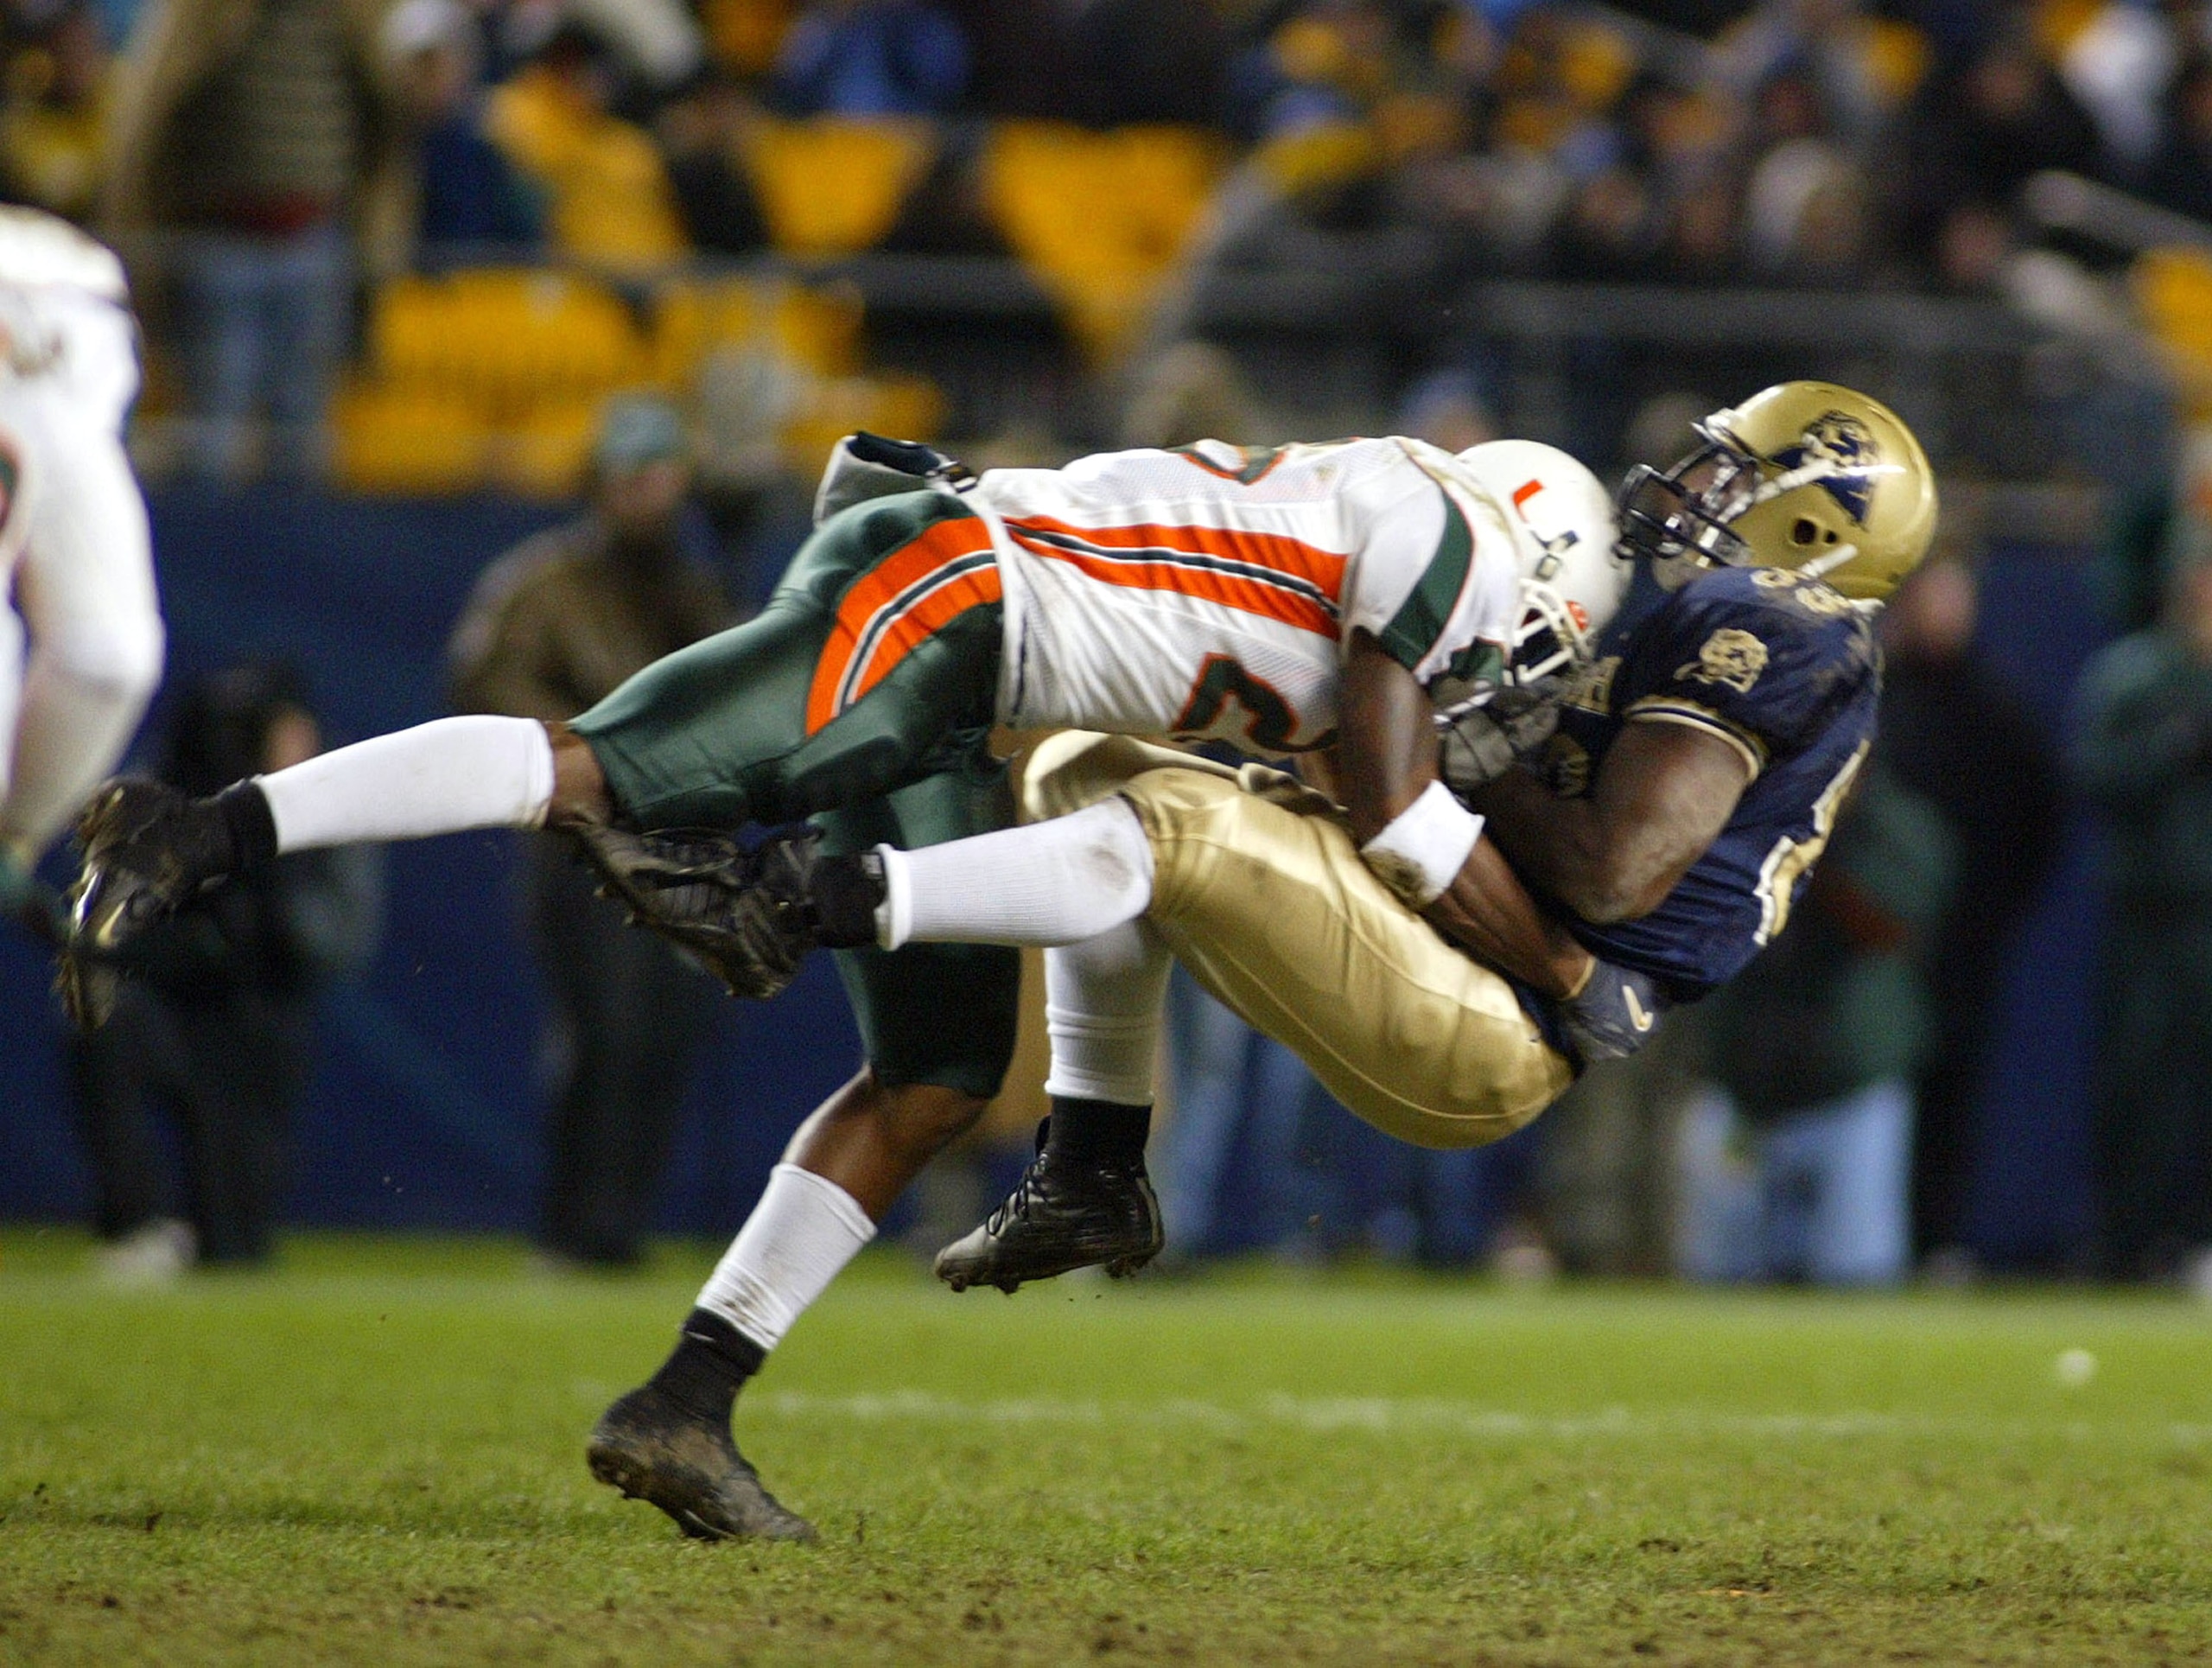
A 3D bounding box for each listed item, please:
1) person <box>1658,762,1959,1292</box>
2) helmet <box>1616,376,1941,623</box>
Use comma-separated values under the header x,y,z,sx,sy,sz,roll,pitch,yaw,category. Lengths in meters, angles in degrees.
x,y,z,sx,sy,sz,roll,pitch,yaw,category
2.238,0.652,11.672,0.634,1.569,1.202,17,0,10,person
1.433,-0.708,7.197,0.617,0.398,0.452,-3,13,-3,helmet
